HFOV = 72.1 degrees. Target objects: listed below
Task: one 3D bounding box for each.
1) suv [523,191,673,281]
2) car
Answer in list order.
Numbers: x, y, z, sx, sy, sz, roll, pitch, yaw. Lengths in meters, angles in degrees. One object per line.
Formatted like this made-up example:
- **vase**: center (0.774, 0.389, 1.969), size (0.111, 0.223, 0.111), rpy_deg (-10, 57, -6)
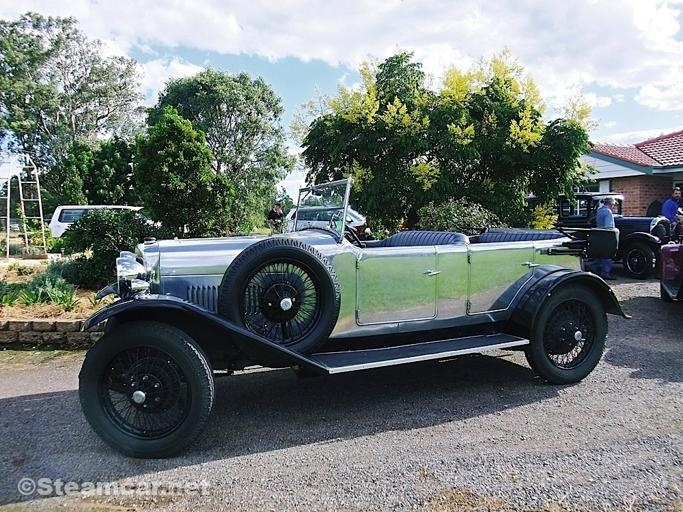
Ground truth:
- **suv**: center (6.549, -0.507, 12.527), size (2.211, 2.163, 4.031), rpy_deg (-1, 0, -37)
- **car**: center (0.487, -0.847, 13.724), size (2.245, 0.932, 1.085), rpy_deg (-2, 3, 18)
